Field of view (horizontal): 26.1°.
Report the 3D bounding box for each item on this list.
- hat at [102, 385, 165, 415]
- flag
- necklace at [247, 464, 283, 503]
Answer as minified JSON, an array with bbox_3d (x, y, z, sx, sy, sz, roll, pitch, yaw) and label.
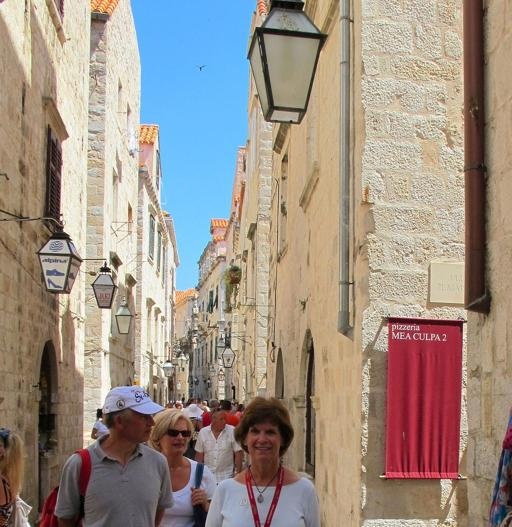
[{"bbox_3d":[-0.817,0.909,7.233,0.265,0.172,0.203,7,-5,-13],"label":"hat"},{"bbox_3d":[1.404,1.159,9.360,0.623,0.048,1.610,1,-61,9],"label":"flag"},{"bbox_3d":[0.083,1.318,6.608,0.123,0.269,0.051,3,-33,-3],"label":"necklace"}]
